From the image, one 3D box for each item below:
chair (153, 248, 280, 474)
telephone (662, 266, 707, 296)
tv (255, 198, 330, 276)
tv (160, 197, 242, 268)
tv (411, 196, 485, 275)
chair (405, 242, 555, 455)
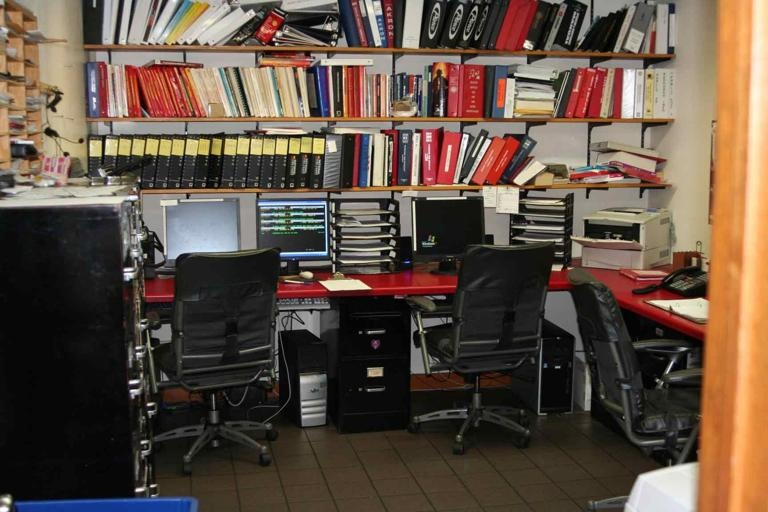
[{"bbox_3d":[-0.927,0.552,3.370,0.701,1.232,0.403,-4,15,-17],"label":"chair"},{"bbox_3d":[1.773,0.154,3.604,0.178,0.061,0.189,-6,5,-2],"label":"telephone"},{"bbox_3d":[-0.607,-0.137,4.022,0.780,0.534,0.216,-1,2,-7],"label":"tv"},{"bbox_3d":[-1.262,-0.169,4.258,0.802,0.492,0.485,-2,6,-18],"label":"tv"},{"bbox_3d":[0.427,-0.146,4.114,0.798,0.512,0.230,-1,-3,-10],"label":"tv"},{"bbox_3d":[0.550,0.516,3.618,0.790,1.253,0.493,1,14,2],"label":"chair"}]
